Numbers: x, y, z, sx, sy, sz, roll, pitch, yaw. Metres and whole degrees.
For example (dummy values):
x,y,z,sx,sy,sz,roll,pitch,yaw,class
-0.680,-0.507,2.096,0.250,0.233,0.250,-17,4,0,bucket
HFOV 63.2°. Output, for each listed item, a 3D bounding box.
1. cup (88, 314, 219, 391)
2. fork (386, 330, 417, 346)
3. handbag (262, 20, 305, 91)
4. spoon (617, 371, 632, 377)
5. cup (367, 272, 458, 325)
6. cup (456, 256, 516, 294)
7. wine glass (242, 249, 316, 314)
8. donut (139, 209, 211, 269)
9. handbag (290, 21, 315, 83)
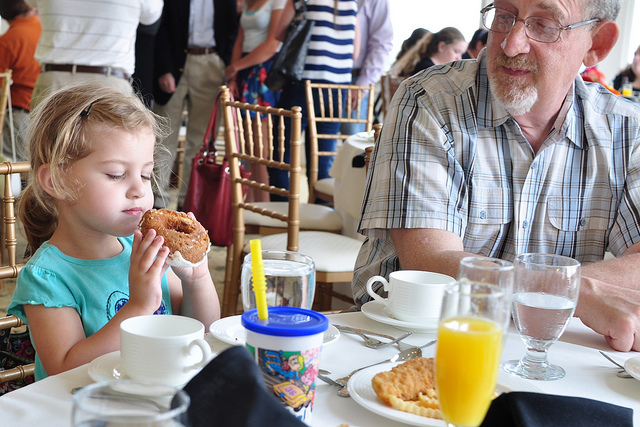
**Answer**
x,y,z,sx,sy,sz,roll,pitch,yaw,class
-0.274,0.218,0.967,0.231,0.150,0.171,7,6,35,cup
0.180,0.267,1.147,0.019,0.020,0.097,34,26,32,fork
-0.257,-1.142,3.845,0.124,0.421,0.334,25,13,1,handbag
0.607,0.321,1.040,0.015,0.004,0.029,1,4,6,spoon
0.202,0.203,1.230,0.203,0.096,0.145,7,3,-13,cup
0.257,0.085,0.804,0.077,0.076,0.077,3,1,0,cup
-0.050,0.133,1.007,0.102,0.119,0.104,7,25,30,wine glass
-0.359,0.072,1.293,0.185,0.155,0.157,0,6,-40,donut
-0.098,-1.277,4.042,0.152,0.491,0.633,5,17,12,handbag
